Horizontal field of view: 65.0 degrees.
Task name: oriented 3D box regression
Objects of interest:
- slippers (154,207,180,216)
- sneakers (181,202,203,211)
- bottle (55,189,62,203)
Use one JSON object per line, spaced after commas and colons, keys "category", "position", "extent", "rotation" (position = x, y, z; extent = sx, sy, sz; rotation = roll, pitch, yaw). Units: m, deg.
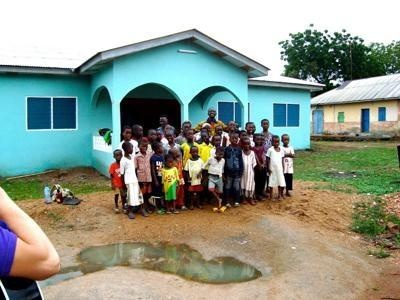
{"category": "slippers", "position": [-0.688, 1.270, 6.397], "extent": [0.449, 0.181, 0.152], "rotation": [-3, 7, 8]}
{"category": "sneakers", "position": [-0.204, 1.241, 6.708], "extent": [0.181, 0.143, 0.468], "rotation": [-2, -6, 16]}
{"category": "bottle", "position": [-3.132, 1.054, 6.965], "extent": [0.165, 0.231, 0.082], "rotation": [3, -10, -1]}
